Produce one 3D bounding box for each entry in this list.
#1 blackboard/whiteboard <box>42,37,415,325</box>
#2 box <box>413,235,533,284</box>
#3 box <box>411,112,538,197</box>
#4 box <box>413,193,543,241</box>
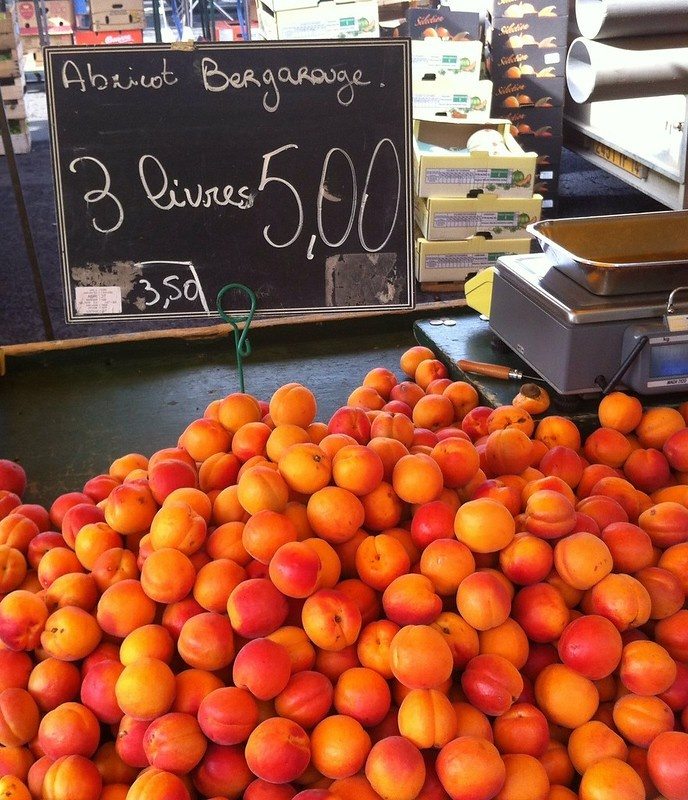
[{"bbox_3d":[-0.242,-0.481,1.465,0.699,0.501,0.009,-2,20,-3],"label":"blackboard/whiteboard"},{"bbox_3d":[0.704,-0.867,4.000,0.612,0.245,0.571,-4,21,-7],"label":"box"},{"bbox_3d":[0.753,-1.482,4.137,0.690,0.348,0.687,0,34,0],"label":"box"},{"bbox_3d":[0.766,-1.084,4.119,0.769,0.256,0.799,-5,23,-6],"label":"box"}]
